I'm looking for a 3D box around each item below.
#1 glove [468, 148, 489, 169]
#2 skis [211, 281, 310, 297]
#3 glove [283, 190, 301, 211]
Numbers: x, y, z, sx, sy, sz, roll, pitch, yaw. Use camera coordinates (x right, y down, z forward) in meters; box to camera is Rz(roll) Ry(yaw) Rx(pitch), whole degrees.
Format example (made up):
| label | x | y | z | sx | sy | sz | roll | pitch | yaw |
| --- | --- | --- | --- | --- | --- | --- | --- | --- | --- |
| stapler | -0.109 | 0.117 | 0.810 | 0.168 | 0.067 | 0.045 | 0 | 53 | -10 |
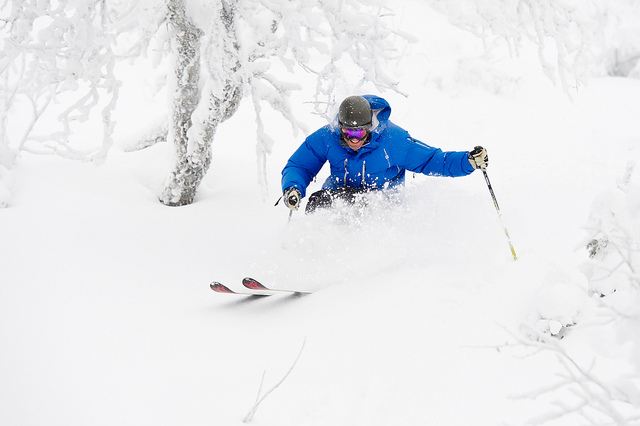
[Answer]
| label | x | y | z | sx | sy | sz | roll | pitch | yaw |
| --- | --- | --- | --- | --- | --- | --- | --- | --- | --- |
| glove | 1.973 | -0.677 | 8.849 | 0.228 | 0.235 | 0.237 | -5 | 77 | 2 |
| skis | -0.715 | 0.922 | 8.679 | 0.967 | 0.141 | 0.152 | 3 | 80 | 1 |
| glove | -0.362 | -0.188 | 9.154 | 0.222 | 0.098 | 0.238 | 15 | 79 | 6 |
